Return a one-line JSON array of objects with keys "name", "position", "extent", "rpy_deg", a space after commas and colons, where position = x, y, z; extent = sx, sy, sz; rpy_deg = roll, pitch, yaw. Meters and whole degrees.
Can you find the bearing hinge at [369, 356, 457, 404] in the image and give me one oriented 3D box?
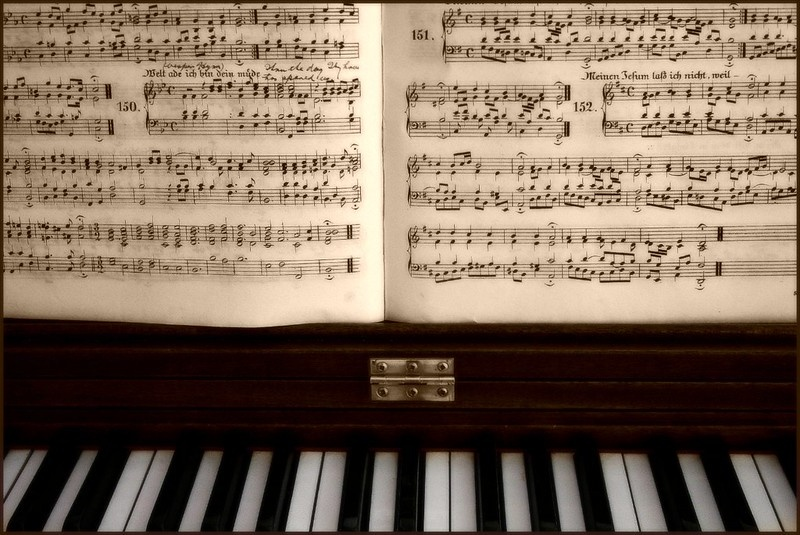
[{"name": "bearing hinge", "position": [0.029, 0.274, 2.245], "extent": [0.210, 0.025, 0.112], "rpy_deg": [0, -84, -1]}]
